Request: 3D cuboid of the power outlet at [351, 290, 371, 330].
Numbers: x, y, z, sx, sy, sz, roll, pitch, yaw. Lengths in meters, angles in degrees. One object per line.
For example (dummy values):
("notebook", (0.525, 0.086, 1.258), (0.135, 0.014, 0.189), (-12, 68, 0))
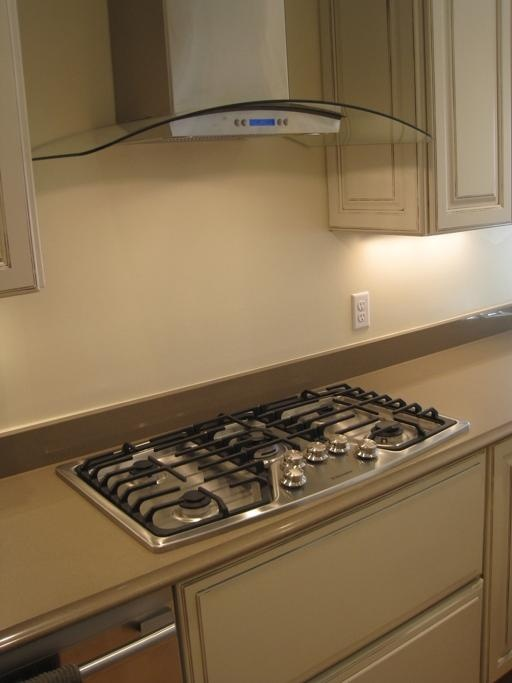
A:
("power outlet", (0.340, -0.105, 1.795), (0.119, 0.022, 0.161), (-9, -81, -47))
